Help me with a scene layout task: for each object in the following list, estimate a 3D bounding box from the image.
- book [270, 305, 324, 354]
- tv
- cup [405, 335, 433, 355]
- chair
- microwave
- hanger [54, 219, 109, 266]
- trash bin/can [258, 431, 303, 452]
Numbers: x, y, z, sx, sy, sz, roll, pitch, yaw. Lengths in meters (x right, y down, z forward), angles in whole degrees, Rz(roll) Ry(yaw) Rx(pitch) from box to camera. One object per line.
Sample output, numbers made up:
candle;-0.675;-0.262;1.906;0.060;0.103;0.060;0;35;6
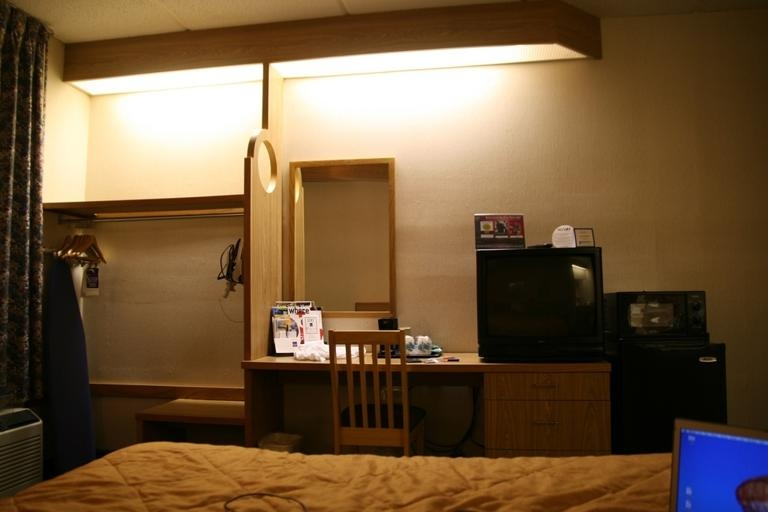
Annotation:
book;-0.668;0.533;4.869;0.401;0.377;0.144;1;-4;-27
tv;1.186;0.347;4.665;0.914;0.811;0.616;-4;-5;28
cup;0.290;0.658;4.641;0.259;0.099;0.092;-2;0;22
chair;0.005;1.076;4.585;0.629;1.131;0.700;-3;-6;25
microwave;1.853;0.409;4.292;0.531;0.315;0.371;-1;-7;8
hanger;-2.445;-0.099;5.159;0.375;0.369;0.297;0;-2;-18
trash bin/can;-0.744;1.340;4.637;0.195;0.081;0.245;-2;-8;10
